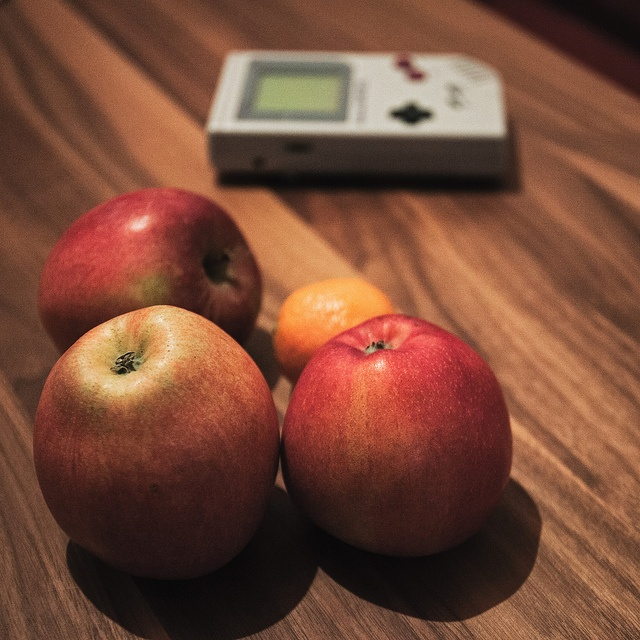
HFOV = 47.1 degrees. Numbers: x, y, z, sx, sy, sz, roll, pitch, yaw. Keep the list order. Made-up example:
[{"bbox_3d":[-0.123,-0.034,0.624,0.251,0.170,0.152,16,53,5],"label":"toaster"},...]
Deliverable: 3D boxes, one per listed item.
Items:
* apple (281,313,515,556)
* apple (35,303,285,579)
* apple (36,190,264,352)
[{"bbox_3d":[0.057,0.026,0.593,0.145,0.180,0.162,-13,21,-18],"label":"apple"},{"bbox_3d":[-0.116,0.110,0.636,0.154,0.232,0.189,-6,32,-4],"label":"apple"},{"bbox_3d":[-0.165,-0.002,0.753,0.154,0.176,0.206,9,79,4],"label":"apple"}]
